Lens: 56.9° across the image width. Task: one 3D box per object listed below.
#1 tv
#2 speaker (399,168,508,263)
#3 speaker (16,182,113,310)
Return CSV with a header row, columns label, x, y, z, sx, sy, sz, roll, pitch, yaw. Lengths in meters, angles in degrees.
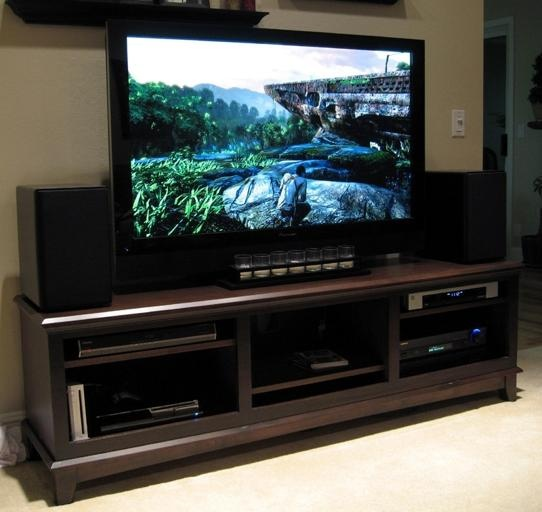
label,x,y,z,sx,sy,sz,roll,pitch,yaw
tv,-0.053,-0.367,1.846,1.153,0.768,0.080,-5,8,-30
speaker,0.853,-0.175,2.190,0.304,0.479,0.516,-4,6,-30
speaker,-0.649,-0.035,1.590,0.262,0.375,0.327,-3,4,-25
